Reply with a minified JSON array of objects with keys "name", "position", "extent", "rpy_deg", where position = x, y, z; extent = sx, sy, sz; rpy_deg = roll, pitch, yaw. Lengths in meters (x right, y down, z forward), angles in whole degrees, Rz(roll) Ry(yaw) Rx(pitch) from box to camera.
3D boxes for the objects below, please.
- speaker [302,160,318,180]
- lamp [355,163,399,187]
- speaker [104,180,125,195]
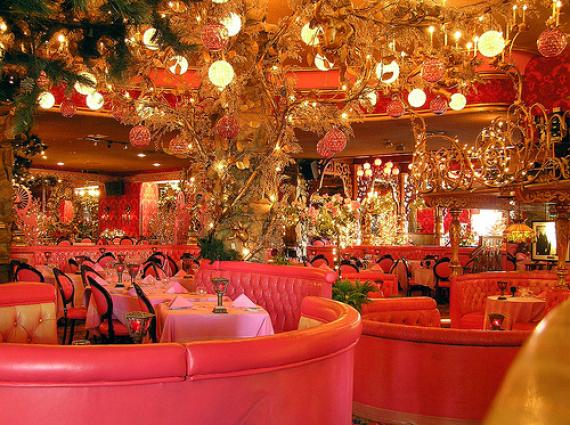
[{"name":"speaker","position":[0.734,-1.255,14.426],"extent":[0.356,0.527,0.419],"rpy_deg":[1,-3,33]},{"name":"lamp","position":[2.959,-1.157,15.663],"extent":[0.876,0.466,1.123],"rpy_deg":[-1,-3,37]},{"name":"speaker","position":[-6.623,-0.950,19.013],"extent":[0.465,0.476,0.270],"rpy_deg":[-2,-19,11]}]
